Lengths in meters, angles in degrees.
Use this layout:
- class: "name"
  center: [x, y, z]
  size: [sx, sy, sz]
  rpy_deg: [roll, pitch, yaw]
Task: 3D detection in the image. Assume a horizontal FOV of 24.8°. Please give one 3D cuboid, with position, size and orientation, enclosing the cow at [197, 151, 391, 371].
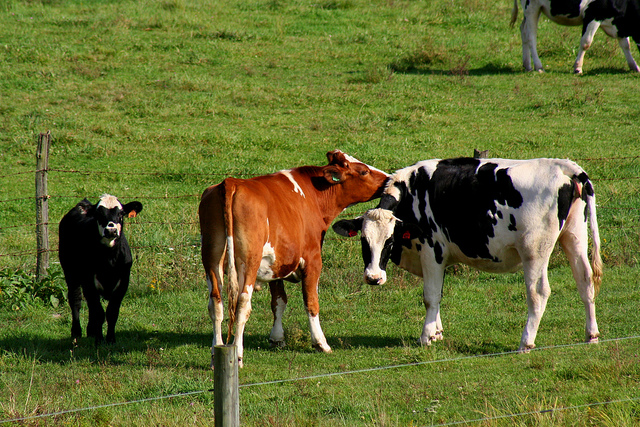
- class: "cow"
  center: [-1.441, 0.751, 40.377]
  size: [3.704, 6.955, 4.379]
  rpy_deg: [-2, 7, -27]

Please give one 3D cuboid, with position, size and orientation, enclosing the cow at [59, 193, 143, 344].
- class: "cow"
  center: [-6.121, 1.567, 39.952]
  size: [1.897, 3.902, 1.015]
  rpy_deg: [4, 9, 21]
